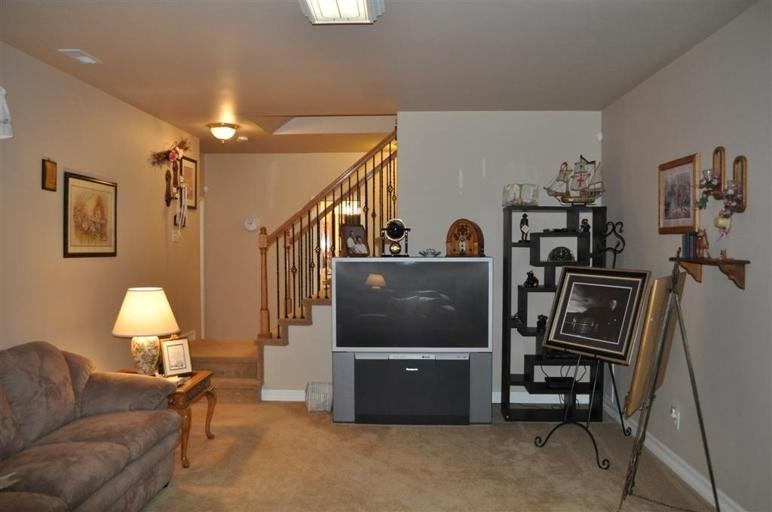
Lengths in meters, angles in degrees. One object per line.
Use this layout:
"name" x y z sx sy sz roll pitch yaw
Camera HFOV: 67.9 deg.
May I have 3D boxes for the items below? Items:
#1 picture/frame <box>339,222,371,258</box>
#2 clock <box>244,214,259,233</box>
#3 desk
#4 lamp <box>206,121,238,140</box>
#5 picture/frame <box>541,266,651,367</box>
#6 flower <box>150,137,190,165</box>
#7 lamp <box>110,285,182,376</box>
"picture/frame" -0.348 -0.169 6.143 0.423 0.493 0.069 -3 -19 -12
"clock" -2.007 -0.486 8.675 0.213 0.220 0.216 13 4 2
"desk" -1.952 1.275 5.355 0.768 0.867 1.057 0 1 13
"lamp" -1.990 -1.545 7.164 0.254 0.152 0.250 -1 3 4
"picture/frame" 1.875 0.537 5.074 0.072 0.836 0.937 17 -6 -43
"flower" -2.671 -1.280 7.086 0.157 0.213 0.526 -19 7 33
"lamp" -2.283 0.656 5.740 0.708 1.099 0.760 -2 2 -20
